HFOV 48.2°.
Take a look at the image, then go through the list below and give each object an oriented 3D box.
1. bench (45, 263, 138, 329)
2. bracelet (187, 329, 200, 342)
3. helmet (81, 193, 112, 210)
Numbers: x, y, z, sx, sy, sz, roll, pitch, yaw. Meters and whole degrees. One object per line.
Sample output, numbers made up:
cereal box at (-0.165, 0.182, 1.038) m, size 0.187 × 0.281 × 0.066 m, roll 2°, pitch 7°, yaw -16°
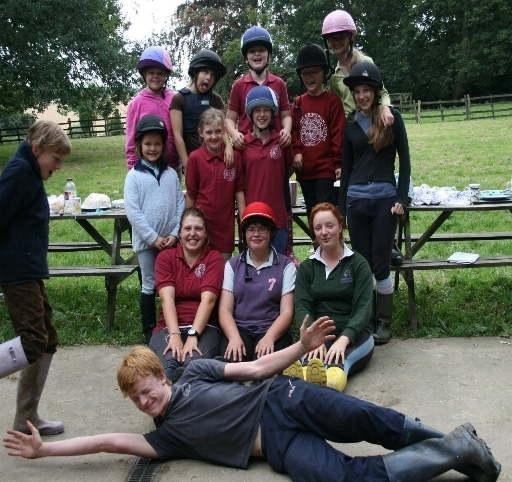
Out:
bench at (-1.632, 0.497, 5.823) m, size 0.694 × 0.483 × 0.654 m, roll 0°, pitch 1°, yaw -6°
bracelet at (-0.461, 0.720, 4.336) m, size 0.061 × 0.097 × 0.096 m, roll -34°, pitch 13°, yaw 6°
helmet at (-1.707, -0.413, 6.090) m, size 0.202 × 0.134 × 0.214 m, roll -3°, pitch 7°, yaw -11°
